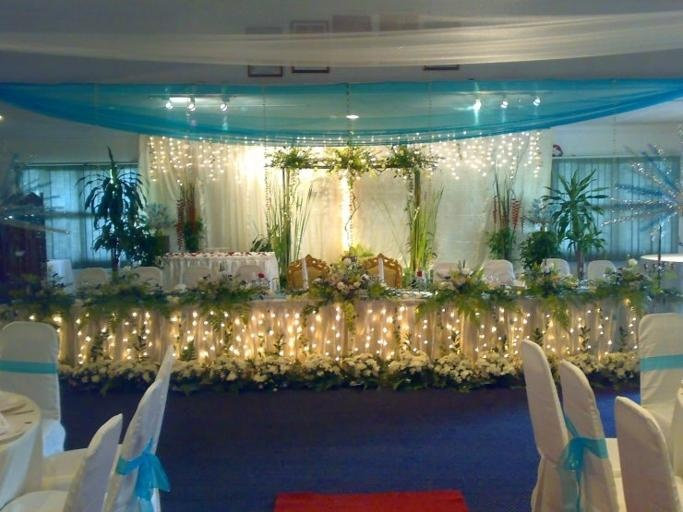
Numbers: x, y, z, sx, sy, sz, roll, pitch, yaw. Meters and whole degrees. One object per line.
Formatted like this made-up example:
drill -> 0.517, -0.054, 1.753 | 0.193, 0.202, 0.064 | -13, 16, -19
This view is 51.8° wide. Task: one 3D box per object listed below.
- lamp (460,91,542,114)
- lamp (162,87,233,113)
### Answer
lamp -> 2.164, -2.099, 9.549 | 1.104, 0.261, 0.136 | 1, 5, 18
lamp -> -1.903, -2.073, 9.356 | 0.876, 0.261, 0.233 | -2, 5, -15
